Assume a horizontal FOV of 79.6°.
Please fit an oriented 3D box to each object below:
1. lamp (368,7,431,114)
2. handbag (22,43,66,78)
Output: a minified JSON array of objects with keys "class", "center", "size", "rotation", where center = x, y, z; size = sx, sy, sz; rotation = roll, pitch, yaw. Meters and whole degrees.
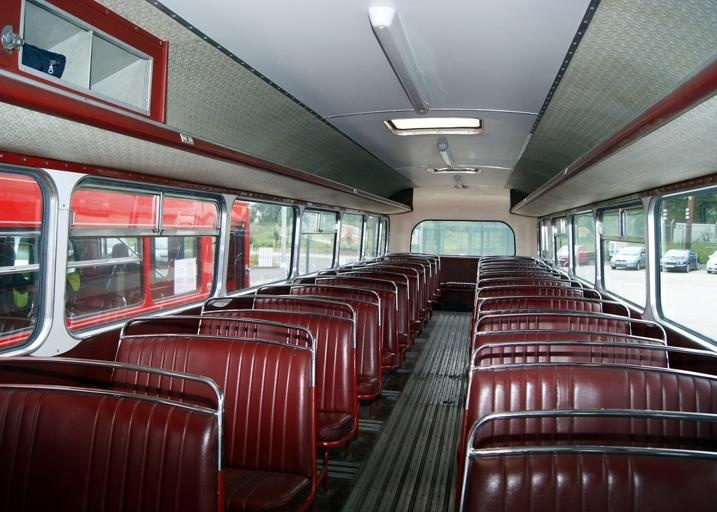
[{"class":"lamp","center":[0.343,-1.469,3.320],"size":[0.167,0.148,1.225],"rotation":[-11,-15,13]},{"class":"handbag","center":[-1.813,-1.111,2.490],"size":[0.057,0.169,0.176],"rotation":[-28,-33,36]}]
